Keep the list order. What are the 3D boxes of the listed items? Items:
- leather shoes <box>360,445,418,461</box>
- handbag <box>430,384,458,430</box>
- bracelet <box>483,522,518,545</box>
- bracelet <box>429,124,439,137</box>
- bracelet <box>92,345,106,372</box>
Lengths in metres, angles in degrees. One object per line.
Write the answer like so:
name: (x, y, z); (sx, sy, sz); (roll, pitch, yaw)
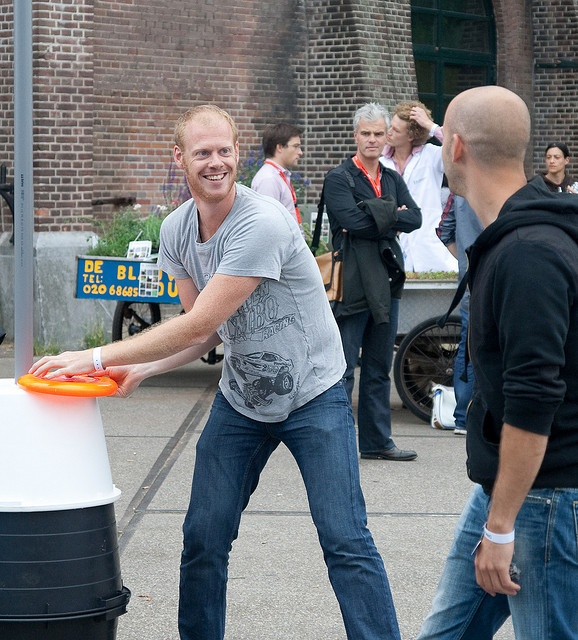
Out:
leather shoes: (0.574, 0.779, 6.110); (0.311, 0.122, 0.112); (-1, -1, 8)
handbag: (0.999, 0.571, 6.838); (0.175, 0.320, 0.324); (1, 0, 32)
bracelet: (0.503, 0.522, 2.556); (0.072, 0.038, 0.046); (1, 10, 10)
bracelet: (0.967, -1.274, 7.118); (0.075, 0.082, 0.065); (0, 4, 7)
bracelet: (-0.546, 0.114, 3.006); (0.039, 0.058, 0.061); (2, 39, -3)
